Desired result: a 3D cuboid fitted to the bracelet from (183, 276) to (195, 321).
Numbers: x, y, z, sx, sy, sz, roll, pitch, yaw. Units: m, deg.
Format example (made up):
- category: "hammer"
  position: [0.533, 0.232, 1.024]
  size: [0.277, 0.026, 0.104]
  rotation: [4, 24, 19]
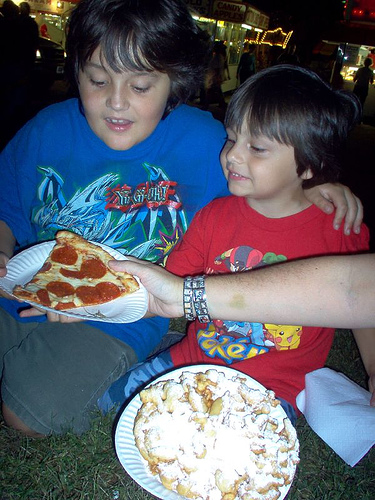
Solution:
- category: "bracelet"
  position: [0.006, 0.204, 1.667]
  size: [0.043, 0.132, 0.124]
  rotation: [-5, 20, 0]
